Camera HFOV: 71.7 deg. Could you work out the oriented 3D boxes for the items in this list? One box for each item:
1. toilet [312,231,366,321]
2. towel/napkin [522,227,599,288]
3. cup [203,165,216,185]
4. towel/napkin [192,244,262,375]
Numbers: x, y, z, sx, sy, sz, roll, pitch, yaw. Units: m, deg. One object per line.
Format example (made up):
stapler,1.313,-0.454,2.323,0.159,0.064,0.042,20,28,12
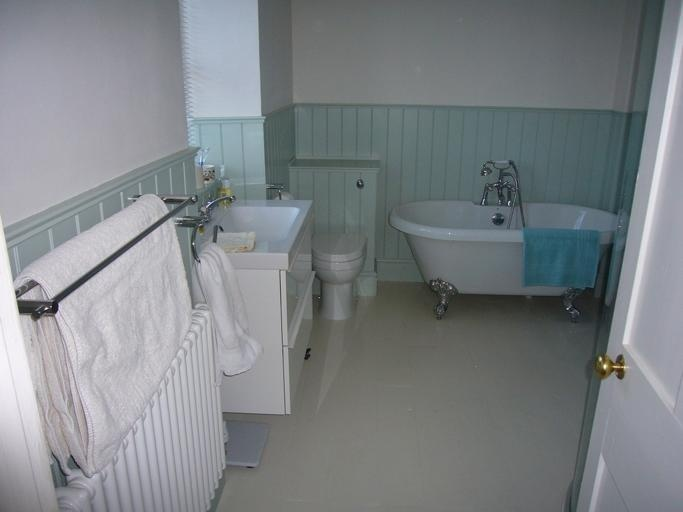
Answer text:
toilet,-0.021,0.160,3.662,0.399,0.592,0.471,0,18,2
towel/napkin,1.566,0.011,3.399,0.378,0.337,0.092,0,23,2
cup,-0.755,-0.462,2.734,0.076,0.099,0.090,1,13,-7
towel/napkin,-0.487,0.210,1.971,0.204,0.624,0.287,-2,35,8
